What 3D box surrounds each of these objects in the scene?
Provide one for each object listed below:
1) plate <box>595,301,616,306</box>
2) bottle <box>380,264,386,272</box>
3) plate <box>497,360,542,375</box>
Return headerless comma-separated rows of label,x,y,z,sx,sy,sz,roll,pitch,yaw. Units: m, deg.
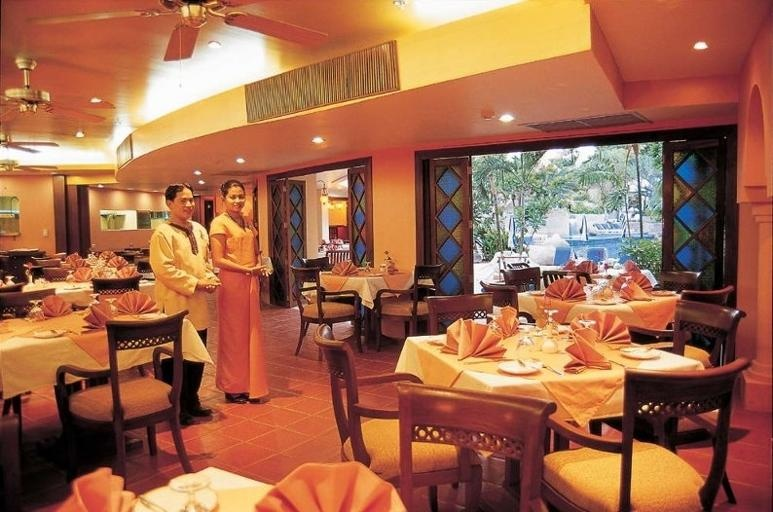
plate,2.172,0.468,5.565,0.254,0.035,0.124,-2,3,-18
bottle,-0.067,0.181,8.380,0.094,0.096,0.089,0,-6,-1
plate,0.897,0.754,3.789,0.273,0.065,0.196,0,3,23
